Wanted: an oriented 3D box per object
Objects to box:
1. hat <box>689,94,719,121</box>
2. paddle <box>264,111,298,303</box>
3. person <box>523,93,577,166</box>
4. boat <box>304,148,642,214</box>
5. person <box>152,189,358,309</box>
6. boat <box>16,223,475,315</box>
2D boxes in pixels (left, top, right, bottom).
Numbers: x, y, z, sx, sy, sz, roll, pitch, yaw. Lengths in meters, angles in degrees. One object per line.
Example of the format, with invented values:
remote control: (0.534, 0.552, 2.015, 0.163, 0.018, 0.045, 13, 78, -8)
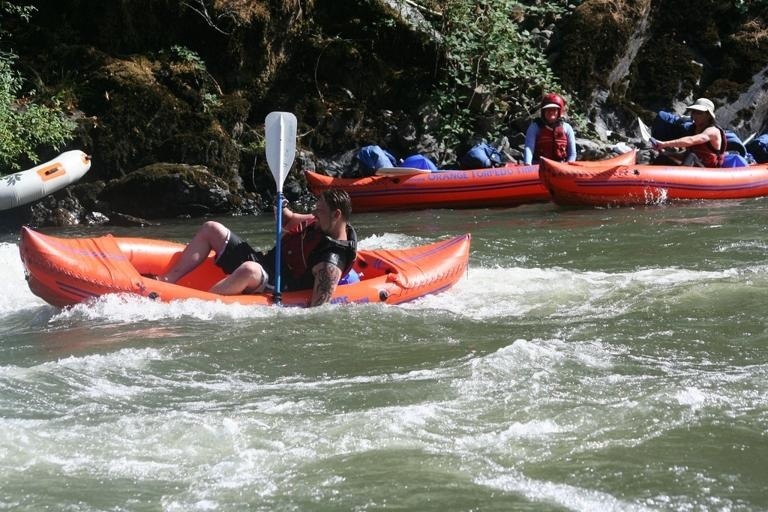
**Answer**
hat: (5.165, -2.365, 16.117, 0.492, 0.323, 0.324, -14, 9, -33)
paddle: (-1.238, -0.523, 11.870, 0.469, 2.417, 0.095, 3, 0, -39)
person: (2.797, -1.996, 16.750, 1.015, 1.343, 0.950, -4, 13, -16)
boat: (1.232, -1.252, 17.030, 6.183, 1.121, 1.709, -4, 14, -2)
person: (-1.325, -0.061, 11.068, 1.738, 0.917, 1.460, 11, 28, -28)
boat: (-1.665, 0.155, 11.288, 3.503, 0.732, 1.809, 0, 17, -11)
